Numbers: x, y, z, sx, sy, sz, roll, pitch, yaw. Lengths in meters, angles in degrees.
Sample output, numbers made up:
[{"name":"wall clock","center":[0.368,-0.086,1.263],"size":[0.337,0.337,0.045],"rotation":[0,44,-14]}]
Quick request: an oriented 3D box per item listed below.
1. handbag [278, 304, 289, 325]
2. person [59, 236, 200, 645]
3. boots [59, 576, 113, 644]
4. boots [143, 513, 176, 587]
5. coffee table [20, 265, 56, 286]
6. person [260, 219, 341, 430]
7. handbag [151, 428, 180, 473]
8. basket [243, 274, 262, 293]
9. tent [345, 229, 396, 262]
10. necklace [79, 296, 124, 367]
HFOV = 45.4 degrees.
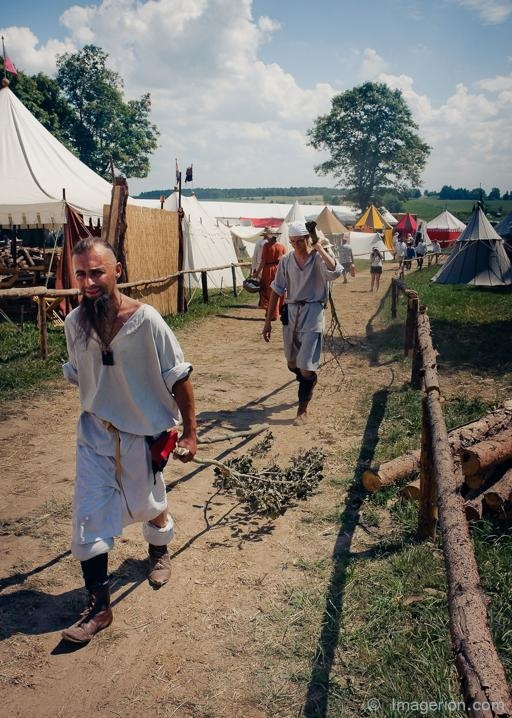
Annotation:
[{"name":"handbag","center":[0.298,-0.435,5.890],"size":[0.070,0.181,0.142],"rotation":[3,1,-10]},{"name":"person","center":[-0.652,0.357,2.888],"size":[0.711,1.817,0.543],"rotation":[-7,15,-21]},{"name":"boots","center":[-0.790,1.175,2.874],"size":[0.118,0.232,0.254],"rotation":[-1,2,36]},{"name":"boots","center":[-0.514,1.016,3.310],"size":[0.183,0.261,0.391],"rotation":[-2,19,-5]},{"name":"coffee table","center":[-4.402,-1.677,12.263],"size":[0.727,0.381,1.176],"rotation":[-6,13,-20]},{"name":"person","center":[0.428,-0.348,5.759],"size":[0.555,1.829,0.807],"rotation":[-5,14,-16]},{"name":"handbag","center":[-0.469,0.436,2.909],"size":[0.077,0.175,0.180],"rotation":[15,10,31]},{"name":"basket","center":[-0.059,-1.344,11.105],"size":[0.402,0.259,0.439],"rotation":[-3,2,-7]},{"name":"tent","center":[5.939,-5.952,32.794],"size":[3.732,1.511,3.554],"rotation":[1,19,1]},{"name":"necklace","center":[-0.698,-0.137,2.797],"size":[0.166,0.263,0.150],"rotation":[-1,14,1]}]
